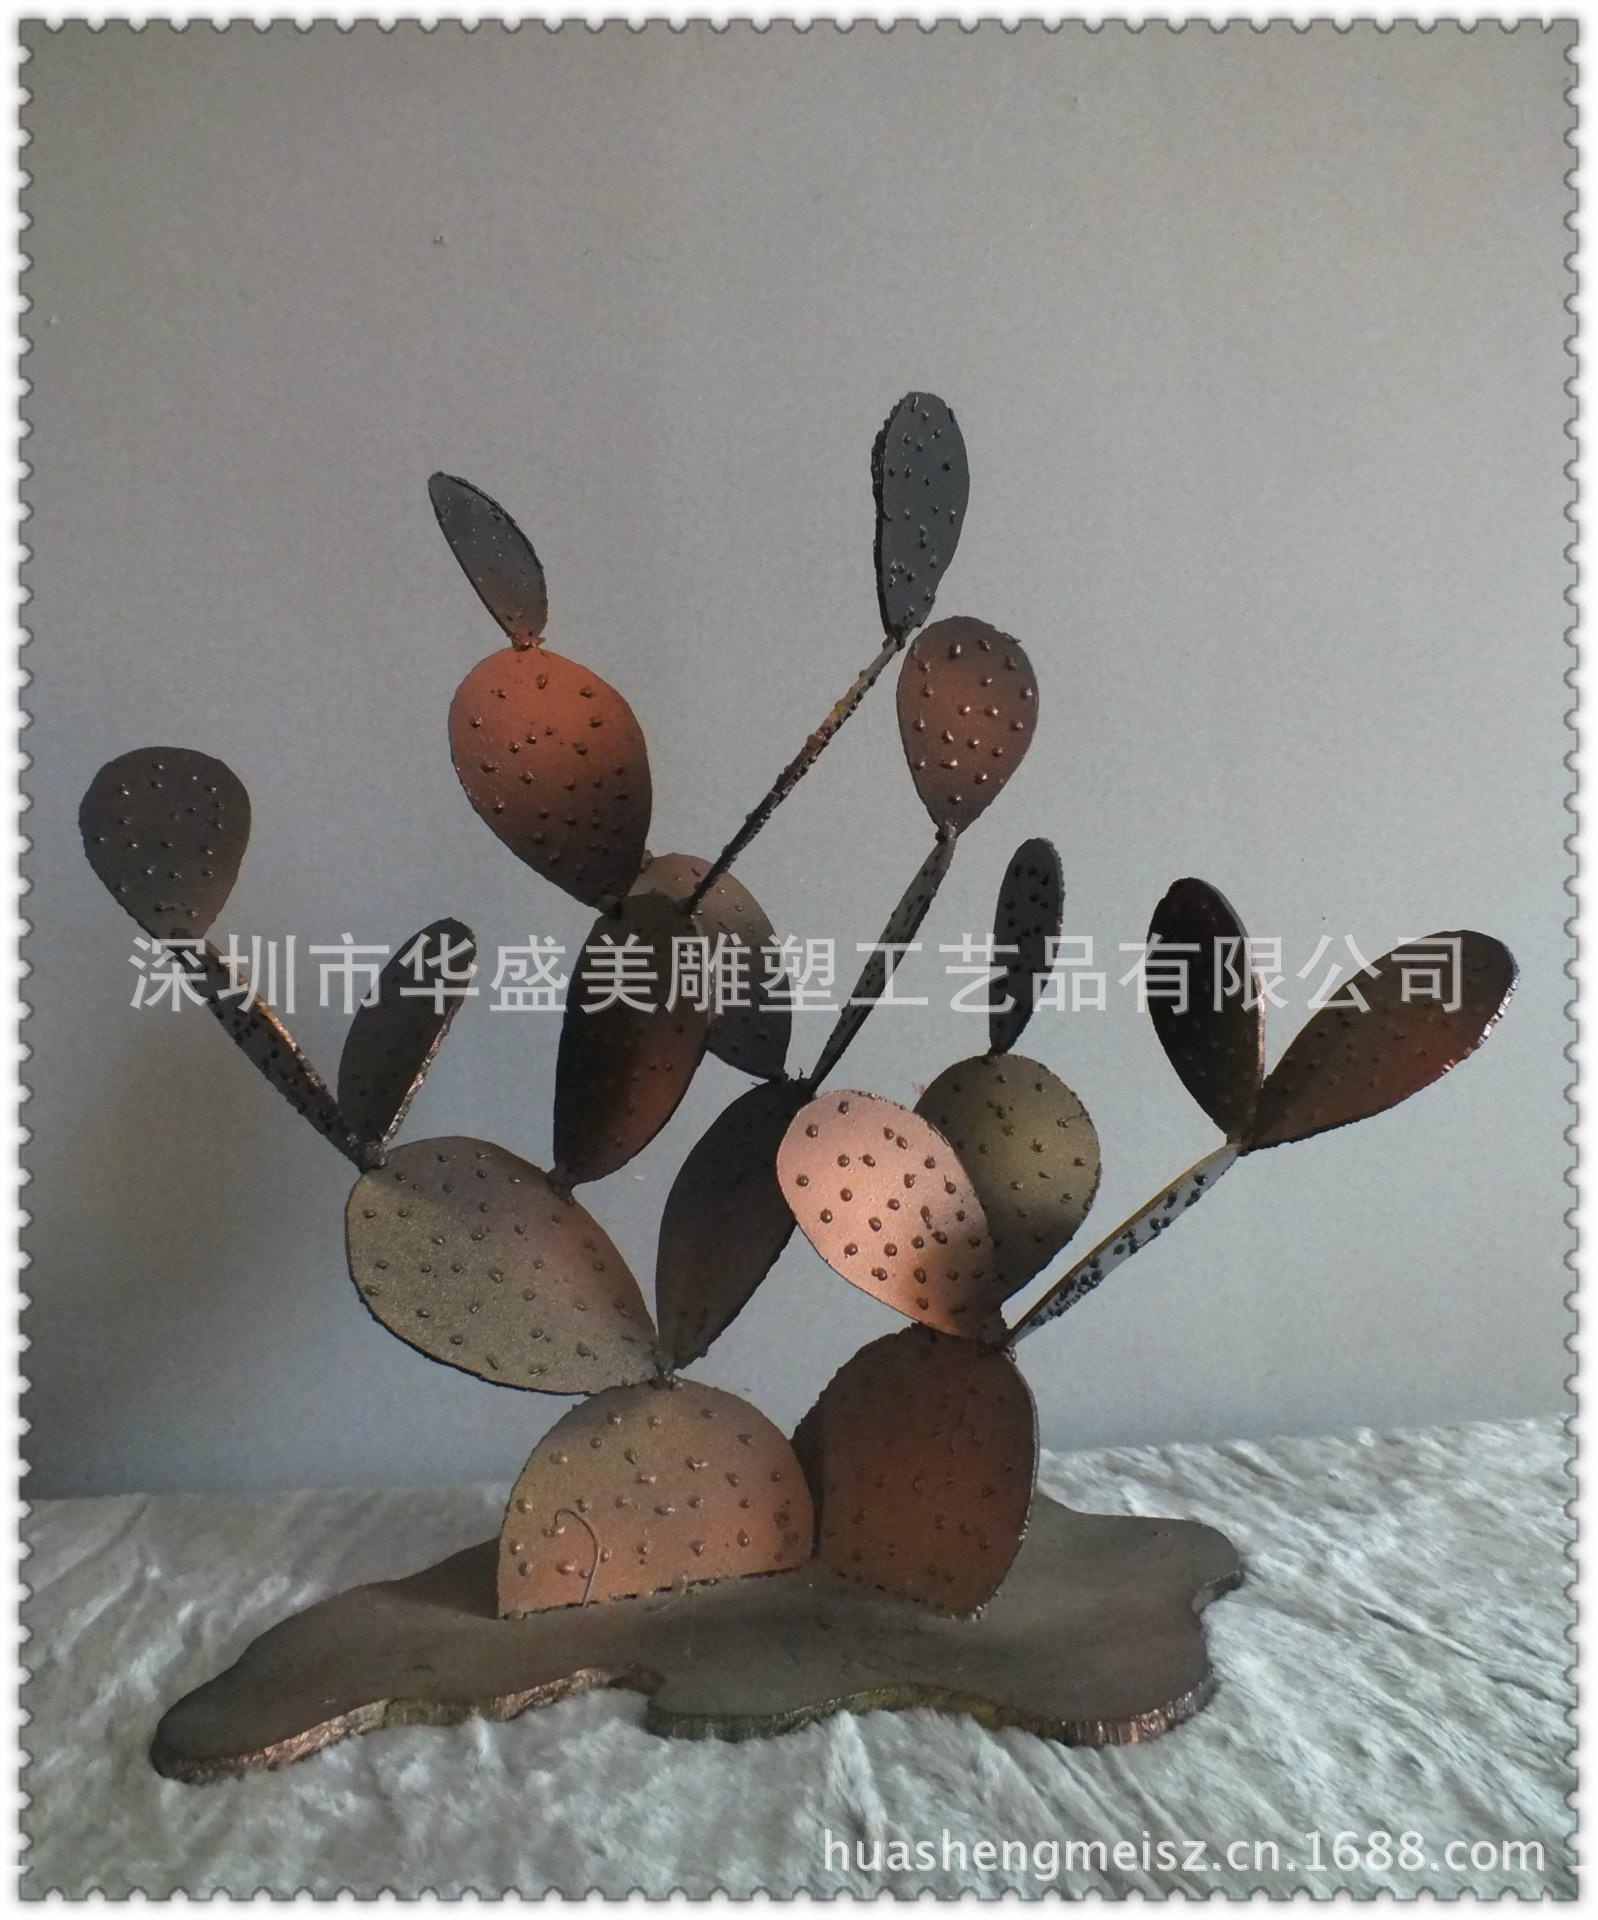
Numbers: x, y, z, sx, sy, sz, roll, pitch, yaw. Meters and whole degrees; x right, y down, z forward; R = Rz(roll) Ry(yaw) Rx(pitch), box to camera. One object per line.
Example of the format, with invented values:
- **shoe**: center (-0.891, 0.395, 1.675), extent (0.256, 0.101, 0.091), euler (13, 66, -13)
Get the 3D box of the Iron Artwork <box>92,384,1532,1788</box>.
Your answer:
- **Iron Artwork**: center (-0.029, 0.211, 2.048), extent (1.102, 1.315, 0.760), euler (7, 47, 2)
